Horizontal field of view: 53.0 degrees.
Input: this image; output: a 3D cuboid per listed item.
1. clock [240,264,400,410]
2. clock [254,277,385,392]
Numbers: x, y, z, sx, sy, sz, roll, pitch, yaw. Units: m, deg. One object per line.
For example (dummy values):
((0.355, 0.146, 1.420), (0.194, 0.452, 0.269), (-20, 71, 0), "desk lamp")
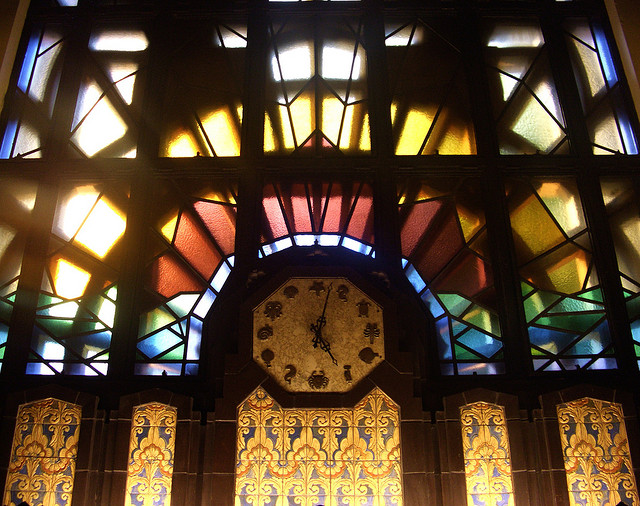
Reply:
((0.000, 0.647, 4.536), (0.948, 0.874, 0.097), (1, -25, -1), "clock")
((-0.009, 0.623, 4.542), (0.750, 0.676, 0.063), (1, -25, -2), "clock")
